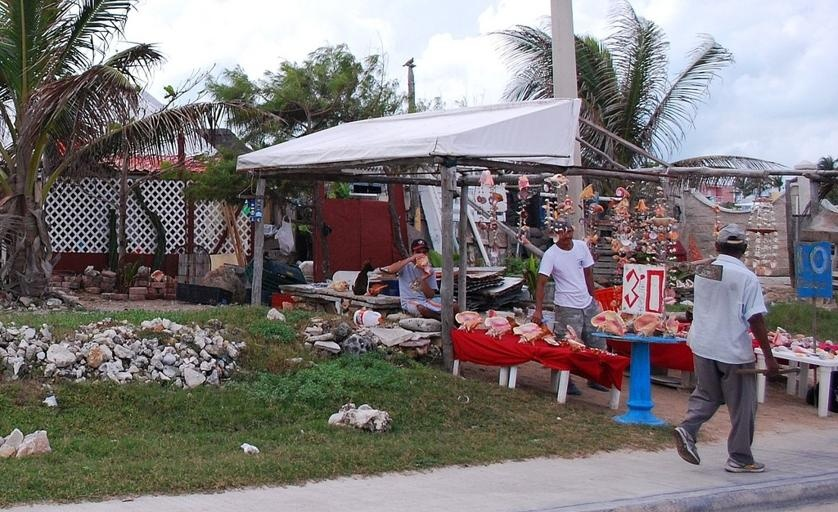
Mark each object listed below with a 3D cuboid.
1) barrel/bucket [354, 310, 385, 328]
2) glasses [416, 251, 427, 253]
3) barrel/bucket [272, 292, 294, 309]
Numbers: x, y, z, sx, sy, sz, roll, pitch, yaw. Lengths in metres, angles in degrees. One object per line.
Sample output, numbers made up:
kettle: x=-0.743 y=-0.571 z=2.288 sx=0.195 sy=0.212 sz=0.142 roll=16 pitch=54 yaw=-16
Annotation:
barrel/bucket: x=-0.955 y=1.143 z=15.193 sx=0.303 sy=0.176 sz=0.411 roll=0 pitch=-1 yaw=40
glasses: x=0.047 y=-0.069 z=15.047 sx=0.047 sy=0.047 sz=0.188 roll=2 pitch=1 yaw=45
barrel/bucket: x=-2.804 y=0.835 z=16.841 sx=0.485 sy=0.324 sz=0.264 roll=-3 pitch=-10 yaw=21
